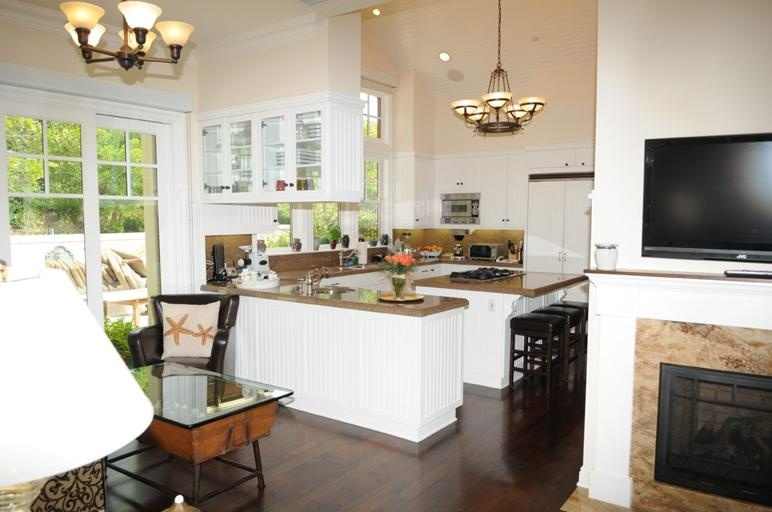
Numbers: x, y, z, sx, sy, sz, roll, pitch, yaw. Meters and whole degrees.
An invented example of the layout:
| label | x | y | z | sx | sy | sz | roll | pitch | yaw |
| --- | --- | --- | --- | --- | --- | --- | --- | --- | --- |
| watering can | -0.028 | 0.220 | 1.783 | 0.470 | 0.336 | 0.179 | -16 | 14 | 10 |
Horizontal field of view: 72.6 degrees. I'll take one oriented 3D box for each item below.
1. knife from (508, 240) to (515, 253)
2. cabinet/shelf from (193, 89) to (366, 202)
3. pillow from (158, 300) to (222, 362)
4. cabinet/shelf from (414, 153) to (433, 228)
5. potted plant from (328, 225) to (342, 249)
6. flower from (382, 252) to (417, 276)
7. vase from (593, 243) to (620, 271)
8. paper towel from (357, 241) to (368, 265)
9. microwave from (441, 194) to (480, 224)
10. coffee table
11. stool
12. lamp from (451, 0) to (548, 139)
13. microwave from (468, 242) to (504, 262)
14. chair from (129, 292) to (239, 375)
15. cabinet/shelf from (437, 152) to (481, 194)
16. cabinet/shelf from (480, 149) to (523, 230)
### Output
| label | x | y | z | sx | sy | sz | roll | pitch | yaw |
| --- | --- | --- | --- | --- | --- | --- | --- | --- | --- |
| knife | 2.110 | -0.163 | 8.825 | 0.119 | 0.191 | 0.046 | -7 | -2 | 4 |
| cabinet/shelf | -1.069 | -1.176 | 5.500 | 1.487 | 0.780 | 0.478 | 0 | 2 | 27 |
| pillow | -1.959 | 0.770 | 5.259 | 0.585 | 0.527 | 0.195 | -1 | -18 | -10 |
| cabinet/shelf | 0.682 | -1.116 | 8.982 | 0.158 | 1.199 | 0.629 | 5 | 12 | 26 |
| potted plant | -0.768 | -0.304 | 8.059 | 0.158 | 0.342 | 0.361 | 3 | 10 | 19 |
| flower | 0.139 | 0.070 | 5.028 | 0.234 | 0.168 | 0.222 | 1 | 1 | 1 |
| vase | 1.648 | -0.004 | 3.939 | 0.178 | 0.194 | 0.212 | 4 | 11 | 23 |
| paper towel | -0.363 | -0.072 | 8.412 | 0.171 | 0.320 | 0.271 | -1 | 10 | -3 |
| microwave | 1.299 | -0.821 | 8.936 | 0.563 | 0.425 | 0.271 | 1 | 2 | 34 |
| coffee table | -1.388 | 1.149 | 4.061 | 1.690 | 0.772 | 0.985 | 2 | 2 | 39 |
| stool | 1.954 | 1.055 | 6.143 | 0.733 | 0.835 | 1.438 | 7 | 12 | 35 |
| lamp | 1.563 | -2.535 | 6.966 | 1.046 | 1.859 | 3.021 | 2 | 10 | 15 |
| microwave | 1.674 | -0.069 | 8.719 | 0.586 | 0.256 | 0.237 | 1 | 10 | 9 |
| chair | -2.019 | 0.800 | 5.463 | 1.051 | 0.792 | 0.824 | 0 | -6 | -4 |
| cabinet/shelf | 1.278 | -1.435 | 8.920 | 0.782 | 0.610 | 0.301 | 3 | 4 | 38 |
| cabinet/shelf | 1.928 | -1.073 | 8.536 | 0.695 | 1.165 | 0.237 | 3 | 11 | 20 |
